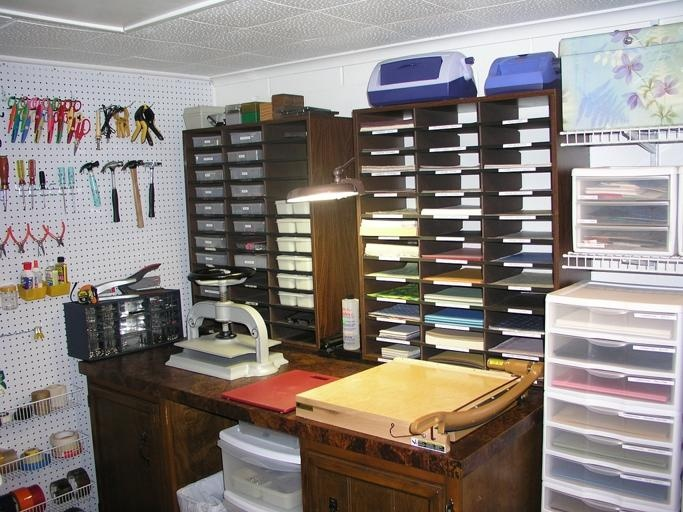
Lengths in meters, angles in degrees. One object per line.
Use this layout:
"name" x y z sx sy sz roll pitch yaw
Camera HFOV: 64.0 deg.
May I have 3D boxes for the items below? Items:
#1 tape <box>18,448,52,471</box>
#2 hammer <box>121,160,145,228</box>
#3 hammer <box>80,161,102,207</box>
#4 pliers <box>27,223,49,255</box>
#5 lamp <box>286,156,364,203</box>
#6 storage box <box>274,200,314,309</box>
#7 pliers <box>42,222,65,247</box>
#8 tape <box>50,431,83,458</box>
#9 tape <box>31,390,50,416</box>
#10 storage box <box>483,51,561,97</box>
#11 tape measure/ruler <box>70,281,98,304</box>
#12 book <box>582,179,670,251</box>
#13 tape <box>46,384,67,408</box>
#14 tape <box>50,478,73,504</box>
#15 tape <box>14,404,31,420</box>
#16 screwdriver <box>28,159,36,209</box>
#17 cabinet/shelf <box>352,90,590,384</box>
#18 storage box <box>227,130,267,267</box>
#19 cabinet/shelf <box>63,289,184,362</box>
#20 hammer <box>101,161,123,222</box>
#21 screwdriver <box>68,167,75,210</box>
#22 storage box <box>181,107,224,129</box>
"tape" -1.943 1.271 3.491 0.198 0.099 0.181 3 -2 -32
"hammer" -1.490 -0.448 3.964 0.082 0.490 0.132 3 11 30
"hammer" -1.710 -0.491 3.745 0.050 0.315 0.138 4 11 33
"pliers" -1.951 -0.105 3.515 0.039 0.199 0.108 5 11 38
"lamp" -0.066 -0.396 2.874 0.414 0.191 0.217 -8 10 -40
"storage box" -0.336 -0.017 3.576 0.132 0.697 0.362 -9 11 -36
"pliers" -1.919 -0.144 3.631 0.178 0.131 0.042 -18 3 -32
"tape" -1.809 1.225 3.631 0.210 0.113 0.196 8 15 31
"tape" -1.931 0.931 3.508 0.110 0.147 0.139 -7 10 -28
"storage box" 0.941 -0.940 2.798 0.318 0.149 0.238 10 33 39
"tape measure/ruler" -1.702 0.240 3.593 0.215 0.147 0.139 0 7 9
"book" 1.323 -0.188 2.700 0.522 0.384 0.365 2 4 36
"tape" -1.851 0.916 3.558 0.111 0.144 0.157 -6 9 -26
"tape" -1.852 1.536 3.590 0.093 0.134 0.159 -21 38 -30
"tape" -2.024 0.989 3.461 0.095 0.094 0.062 -2 9 -3
"screwdriver" -1.956 -0.473 3.469 0.065 0.252 0.054 0 -8 -22
"cabinet/shelf" 0.815 -0.161 3.226 1.334 1.418 0.525 1 4 44
"storage box" -0.665 -0.409 3.776 0.373 0.854 0.226 9 10 37
"cabinet/shelf" -1.444 0.451 3.647 0.816 0.427 0.438 -7 12 -44
"hammer" -1.603 -0.452 3.864 0.060 0.430 0.148 2 10 28
"screwdriver" -1.794 -0.459 3.635 0.049 0.229 0.044 -4 0 -6
"storage box" -1.011 -0.976 4.012 0.283 0.126 0.250 -5 10 -28
